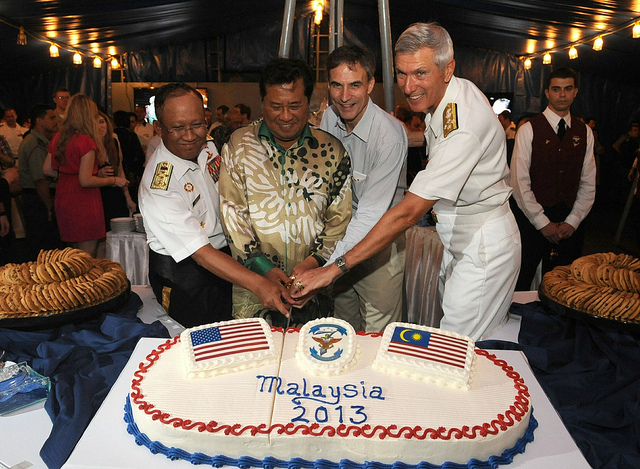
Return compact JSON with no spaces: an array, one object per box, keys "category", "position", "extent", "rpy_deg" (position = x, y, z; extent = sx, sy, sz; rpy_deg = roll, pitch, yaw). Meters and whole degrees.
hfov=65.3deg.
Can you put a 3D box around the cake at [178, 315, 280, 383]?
[{"category":"cake","position":[-0.410,0.506,2.221],"extent":[0.299,0.099,0.259],"rpy_deg":[-5,33,-16]}]

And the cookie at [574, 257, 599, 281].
[{"category":"cookie","position":[1.622,0.183,3.055],"extent":[0.126,0.048,0.134],"rpy_deg":[-32,66,-30]}]

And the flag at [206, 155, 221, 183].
[{"category":"flag","position":[-0.625,-0.374,2.895],"extent":[0.015,0.133,0.123],"rpy_deg":[-6,36,30]}]

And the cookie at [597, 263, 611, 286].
[{"category":"cookie","position":[1.641,0.221,2.887],"extent":[0.072,0.113,0.016],"rpy_deg":[6,-33,-7]}]

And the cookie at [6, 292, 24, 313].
[{"category":"cookie","position":[-1.608,0.362,2.616],"extent":[0.076,0.085,0.026],"rpy_deg":[-16,-14,-47]}]

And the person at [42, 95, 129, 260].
[{"category":"person","position":[-2.067,-0.494,4.398],"extent":[0.581,1.415,0.723],"rpy_deg":[-13,23,-30]}]

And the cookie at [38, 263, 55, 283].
[{"category":"cookie","position":[-1.511,0.212,2.741],"extent":[0.020,0.087,0.079],"rpy_deg":[-22,-23,18]}]

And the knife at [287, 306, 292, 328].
[{"category":"knife","position":[-0.175,0.469,2.759],"extent":[0.015,0.150,0.017],"rpy_deg":[11,16,-1]}]

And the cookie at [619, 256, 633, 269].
[{"category":"cookie","position":[1.899,0.166,3.072],"extent":[0.148,0.045,0.033],"rpy_deg":[-16,25,-32]}]

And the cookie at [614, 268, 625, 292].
[{"category":"cookie","position":[1.696,0.257,2.835],"extent":[0.020,0.086,0.070],"rpy_deg":[-7,-21,5]}]

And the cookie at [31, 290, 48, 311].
[{"category":"cookie","position":[-1.478,0.346,2.621],"extent":[0.020,0.087,0.085],"rpy_deg":[-18,59,-13]}]

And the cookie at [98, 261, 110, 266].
[{"category":"cookie","position":[-1.350,0.173,3.086],"extent":[0.031,0.010,0.067],"rpy_deg":[16,28,35]}]

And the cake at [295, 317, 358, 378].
[{"category":"cake","position":[0.031,0.523,2.304],"extent":[0.286,0.121,0.401],"rpy_deg":[2,20,-1]}]

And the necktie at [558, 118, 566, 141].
[{"category":"necktie","position":[2.024,-0.884,4.174],"extent":[0.038,0.214,0.049],"rpy_deg":[2,-8,19]}]

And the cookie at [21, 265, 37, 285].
[{"category":"cookie","position":[-1.603,0.218,2.764],"extent":[0.074,0.092,0.023],"rpy_deg":[-1,21,31]}]

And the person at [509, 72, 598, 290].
[{"category":"person","position":[1.966,-0.373,4.278],"extent":[0.691,1.943,0.773],"rpy_deg":[10,22,30]}]

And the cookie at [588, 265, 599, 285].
[{"category":"cookie","position":[1.606,0.233,2.917],"extent":[0.059,0.097,0.015],"rpy_deg":[-2,-14,12]}]

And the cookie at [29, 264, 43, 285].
[{"category":"cookie","position":[-1.576,0.216,2.760],"extent":[0.021,0.095,0.086],"rpy_deg":[-12,-11,-4]}]

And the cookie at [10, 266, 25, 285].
[{"category":"cookie","position":[-1.678,0.219,2.747],"extent":[0.020,0.082,0.077],"rpy_deg":[-29,-34,19]}]

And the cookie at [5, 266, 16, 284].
[{"category":"cookie","position":[-1.718,0.220,2.752],"extent":[0.016,0.075,0.068],"rpy_deg":[-10,-7,7]}]

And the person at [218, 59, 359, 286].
[{"category":"person","position":[-0.172,-0.124,2.719],"extent":[0.648,1.575,0.711],"rpy_deg":[-1,16,-16]}]

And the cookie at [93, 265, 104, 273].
[{"category":"cookie","position":[-1.333,0.194,2.992],"extent":[0.043,0.042,0.050],"rpy_deg":[1,25,-4]}]

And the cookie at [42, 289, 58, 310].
[{"category":"cookie","position":[-1.433,0.334,2.623],"extent":[0.014,0.092,0.089],"rpy_deg":[-20,-7,7]}]

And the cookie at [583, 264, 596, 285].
[{"category":"cookie","position":[1.594,0.226,2.948],"extent":[0.058,0.090,0.014],"rpy_deg":[7,-20,-30]}]

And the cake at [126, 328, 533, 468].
[{"category":"cake","position":[-0.007,0.697,1.985],"extent":[1.183,0.209,0.698],"rpy_deg":[1,18,3]}]

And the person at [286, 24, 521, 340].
[{"category":"person","position":[0.641,-0.218,2.661],"extent":[1.125,1.673,0.376],"rpy_deg":[-2,19,-3]}]

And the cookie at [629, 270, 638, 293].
[{"category":"cookie","position":[1.755,0.255,2.797],"extent":[0.067,0.087,0.023],"rpy_deg":[-22,4,-40]}]
